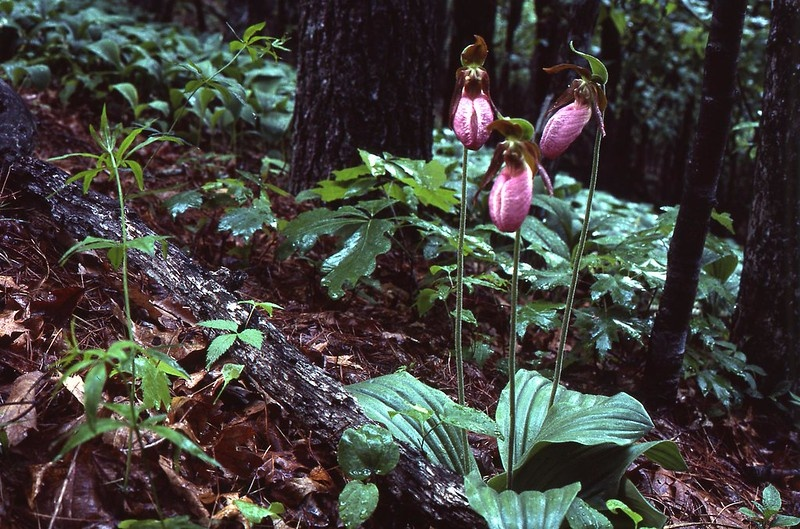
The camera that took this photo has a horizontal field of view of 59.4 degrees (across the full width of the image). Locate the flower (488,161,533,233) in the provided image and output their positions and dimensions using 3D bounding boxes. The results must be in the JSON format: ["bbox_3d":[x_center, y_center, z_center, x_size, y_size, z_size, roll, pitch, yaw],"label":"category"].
[{"bbox_3d":[0.764,-0.459,4.831,0.233,0.537,0.211,6,8,32],"label":"flower"}]

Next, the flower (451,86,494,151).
[{"bbox_3d":[0.514,-1.018,4.943,0.288,0.410,0.251,8,8,3],"label":"flower"}]
